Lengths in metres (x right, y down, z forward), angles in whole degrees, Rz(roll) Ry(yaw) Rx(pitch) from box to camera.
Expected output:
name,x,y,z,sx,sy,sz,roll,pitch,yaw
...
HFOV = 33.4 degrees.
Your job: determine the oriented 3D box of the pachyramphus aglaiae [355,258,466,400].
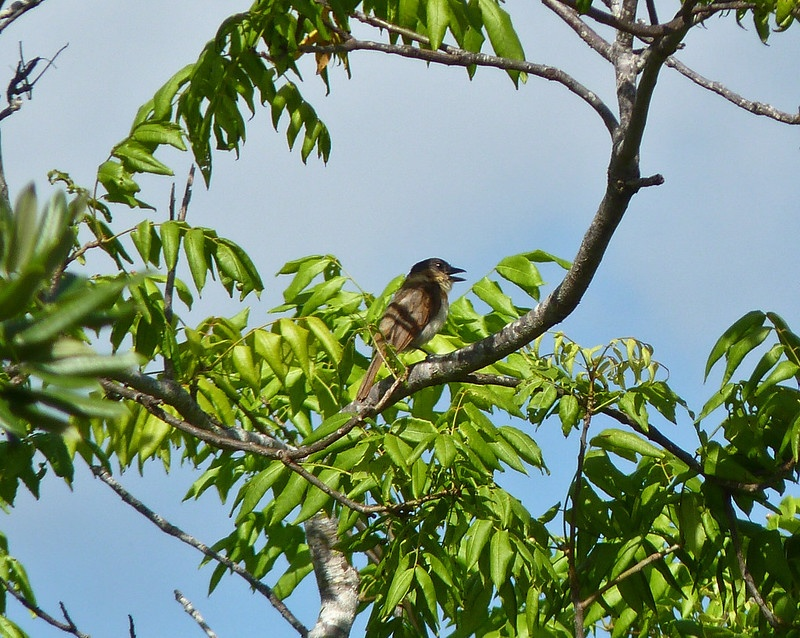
name,x,y,z,sx,sy,sz,roll,pitch,yaw
pachyramphus aglaiae,0.092,0.066,11.057,1.013,1.184,0.428,-3,-16,-22
